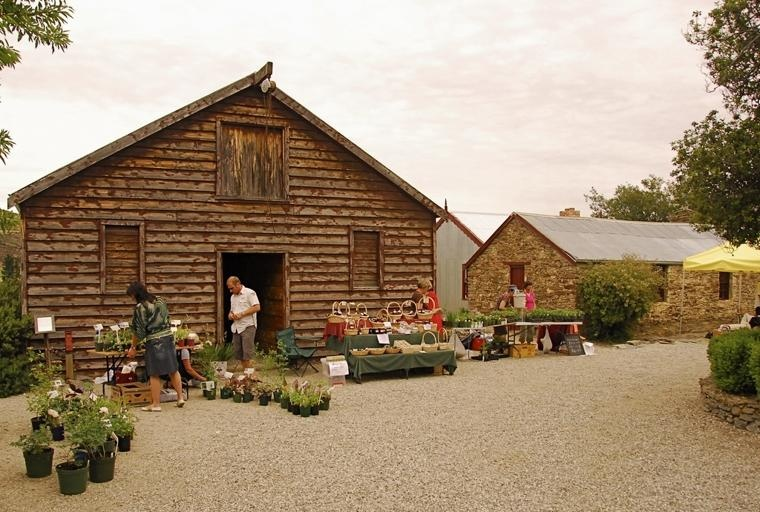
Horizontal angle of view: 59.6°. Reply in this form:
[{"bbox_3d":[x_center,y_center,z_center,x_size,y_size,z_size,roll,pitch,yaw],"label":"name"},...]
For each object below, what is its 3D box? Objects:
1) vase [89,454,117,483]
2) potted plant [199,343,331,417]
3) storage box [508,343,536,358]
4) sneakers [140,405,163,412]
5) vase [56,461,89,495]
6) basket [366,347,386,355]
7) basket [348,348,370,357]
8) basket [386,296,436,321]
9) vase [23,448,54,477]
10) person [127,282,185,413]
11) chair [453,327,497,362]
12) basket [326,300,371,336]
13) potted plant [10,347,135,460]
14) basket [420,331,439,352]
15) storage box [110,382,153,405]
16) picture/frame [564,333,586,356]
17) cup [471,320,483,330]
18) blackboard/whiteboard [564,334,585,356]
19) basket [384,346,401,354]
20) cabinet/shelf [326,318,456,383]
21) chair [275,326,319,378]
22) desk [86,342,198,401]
[{"bbox_3d":[-3.587,2.758,8.641,0.340,0.233,0.313,6,-10,-35],"label":"vase"},{"bbox_3d":[-2.241,2.239,12.173,3.049,1.121,0.891,4,0,22],"label":"potted plant"},{"bbox_3d":[3.777,2.488,17.576,0.511,0.368,0.961,-8,-8,42],"label":"storage box"},{"bbox_3d":[-3.905,2.576,11.312,0.291,0.112,0.127,2,-5,11],"label":"sneakers"},{"bbox_3d":[-3.884,2.823,8.421,0.413,0.280,0.390,3,-9,-30],"label":"vase"},{"bbox_3d":[-0.039,1.948,13.656,0.412,0.136,0.126,0,-6,-24],"label":"basket"},{"bbox_3d":[-0.405,1.965,13.594,0.369,0.154,0.210,0,-6,-23],"label":"basket"},{"bbox_3d":[0.724,1.222,15.280,0.538,0.337,0.933,2,-5,-41],"label":"basket"},{"bbox_3d":[-4.454,2.697,8.767,0.408,0.274,0.365,2,-5,-16],"label":"vase"},{"bbox_3d":[-3.855,1.524,11.247,0.932,2.075,0.836,-4,-1,40],"label":"person"},{"bbox_3d":[2.426,2.284,17.546,0.878,1.047,1.621,-11,-16,43],"label":"chair"},{"bbox_3d":[-0.661,1.329,14.324,0.843,0.683,0.824,2,-3,-33],"label":"basket"},{"bbox_3d":[-4.109,2.212,9.125,1.301,0.797,1.233,10,8,20],"label":"potted plant"},{"bbox_3d":[1.050,1.831,14.310,0.474,0.462,0.385,2,-9,-23],"label":"basket"},{"bbox_3d":[-4.429,2.444,11.811,0.706,0.250,0.700,-1,-4,41],"label":"storage box"},{"bbox_3d":[5.235,2.378,17.846,0.568,0.490,0.214,2,-15,-36],"label":"picture/frame"},{"bbox_3d":[2.463,1.721,16.701,0.247,0.136,0.235,0,0,0],"label":"cup"},{"bbox_3d":[5.294,2.363,17.816,0.691,0.568,0.328,1,-7,-38],"label":"blackboard/whiteboard"},{"bbox_3d":[0.268,1.952,13.817,0.344,0.140,0.141,-2,-6,-5],"label":"basket"},{"bbox_3d":[0.570,2.358,14.631,2.830,0.735,2.775,2,-11,-31],"label":"cabinet/shelf"},{"bbox_3d":[-1.815,2.066,14.524,1.014,0.969,1.011,-3,-6,-23],"label":"chair"},{"bbox_3d":[-4.703,2.295,12.288,2.103,0.942,1.055,6,22,-3],"label":"desk"}]
